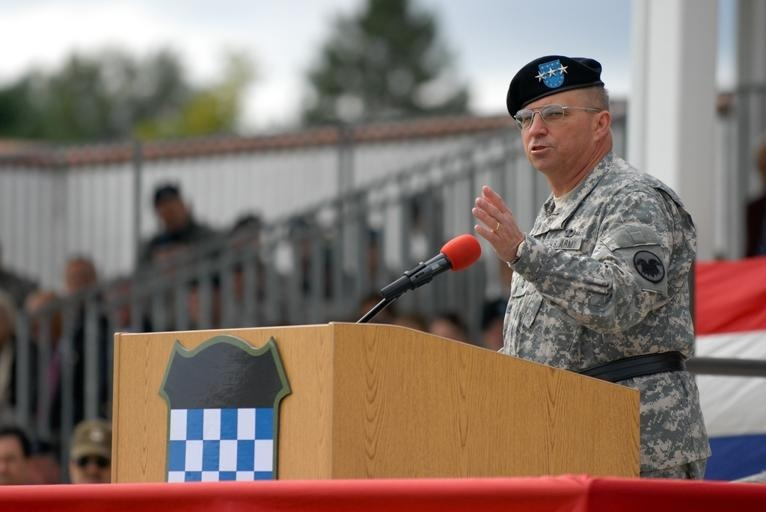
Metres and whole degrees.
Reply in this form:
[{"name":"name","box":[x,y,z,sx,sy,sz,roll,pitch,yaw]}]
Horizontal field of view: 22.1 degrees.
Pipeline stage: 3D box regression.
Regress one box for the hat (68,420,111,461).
[{"name":"hat","box":[-1.814,1.365,14.616,0.267,0.323,0.348,-1,-11,-9]}]

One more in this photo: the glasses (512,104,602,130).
[{"name":"glasses","box":[1.053,-0.890,12.431,0.234,0.072,0.220,9,-11,-41]}]
